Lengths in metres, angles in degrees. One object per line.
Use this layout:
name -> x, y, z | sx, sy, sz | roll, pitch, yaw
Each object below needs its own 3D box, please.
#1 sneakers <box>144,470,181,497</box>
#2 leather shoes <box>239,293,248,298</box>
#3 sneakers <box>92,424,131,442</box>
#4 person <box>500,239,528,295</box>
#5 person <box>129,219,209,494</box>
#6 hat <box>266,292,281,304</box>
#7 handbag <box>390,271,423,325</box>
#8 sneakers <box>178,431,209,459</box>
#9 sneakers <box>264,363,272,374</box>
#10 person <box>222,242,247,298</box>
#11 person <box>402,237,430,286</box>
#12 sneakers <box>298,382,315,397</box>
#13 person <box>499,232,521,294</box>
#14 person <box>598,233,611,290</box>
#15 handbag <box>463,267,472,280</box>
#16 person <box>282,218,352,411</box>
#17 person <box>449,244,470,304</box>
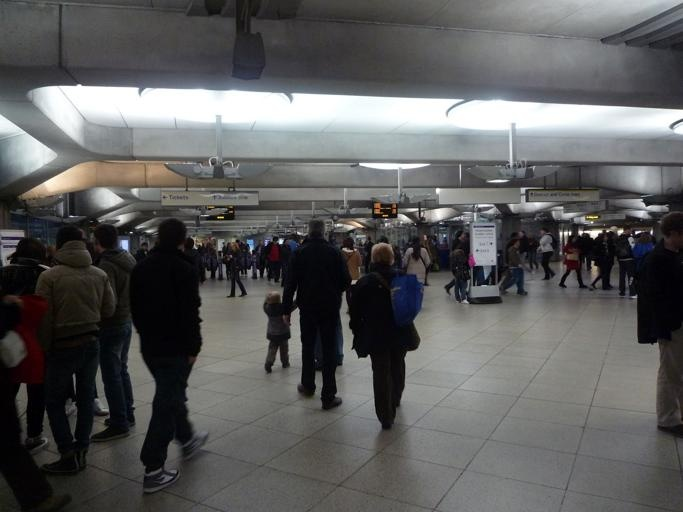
sneakers -> -1.579, 1.962, 4.566 | 0.116, 0.151, 0.338 | 1, 4, 28
leather shoes -> -3.543, 1.389, 18.633 | 0.293, 0.204, 0.104 | 3, 4, 12
sneakers -> -2.420, 1.864, 5.509 | 0.378, 0.153, 0.135 | 2, -4, -17
person -> 5.572, 0.324, 16.962 | 0.628, 1.814, 0.643 | 4, 13, 43
person -> -1.567, 0.850, 4.688 | 0.573, 2.354, 0.430 | -3, 4, -24
hat -> -1.007, 0.643, 7.803 | 0.171, 0.229, 0.235 | 2, 19, 8
handbag -> 0.688, 0.510, 5.918 | 0.451, 0.713, 0.601 | 1, -14, 1
sneakers -> -1.451, 1.852, 5.175 | 0.103, 0.145, 0.317 | 8, 38, 22
sneakers -> -1.068, 1.665, 7.670 | 0.080, 0.135, 0.131 | -1, -5, 2
person -> -3.717, 0.471, 18.335 | 0.866, 1.809, 0.636 | 2, -2, -19
person -> 2.039, 0.304, 14.296 | 0.650, 1.799, 0.635 | -2, 26, 3
sneakers -> -0.466, 1.727, 6.718 | 0.100, 0.116, 0.270 | -1, 7, -22
person -> 5.543, 0.243, 17.143 | 0.561, 1.996, 1.472 | 0, 4, 17
person -> 9.213, 0.174, 18.179 | 0.421, 1.968, 1.434 | 1, 4, 27
handbag -> 3.582, 0.514, 14.843 | 0.241, 0.451, 0.268 | 6, 0, -4
person -> -0.362, 0.668, 6.712 | 0.817, 2.293, 0.784 | -1, 7, -6
person -> 3.446, 0.576, 15.218 | 0.475, 1.521, 0.729 | 0, 4, 11
